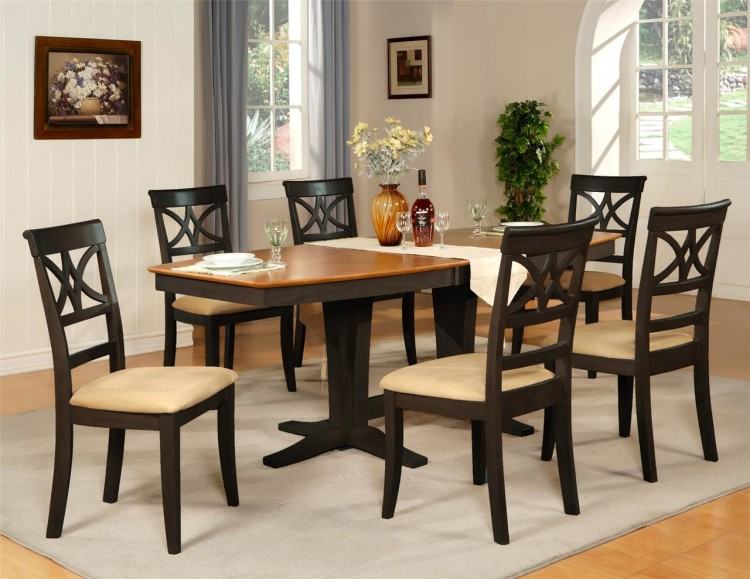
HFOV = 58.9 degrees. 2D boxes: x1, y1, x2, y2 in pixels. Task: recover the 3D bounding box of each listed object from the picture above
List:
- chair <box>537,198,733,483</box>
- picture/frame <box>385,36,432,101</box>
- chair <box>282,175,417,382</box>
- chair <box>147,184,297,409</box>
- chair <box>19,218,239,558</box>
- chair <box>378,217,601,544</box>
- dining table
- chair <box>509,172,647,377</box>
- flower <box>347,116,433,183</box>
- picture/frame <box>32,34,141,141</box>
[{"bbox_3d":[1.126,0.211,2.869,0.549,1.002,0.545,-7,-9,-44],"label":"chair"},{"bbox_3d":[0.340,-2.210,6.626,0.491,0.563,0.028,9,19,32],"label":"picture/frame"},{"bbox_3d":[-0.219,-0.123,4.070,0.614,1.068,0.679,-8,7,-27],"label":"chair"},{"bbox_3d":[-0.886,-0.015,3.814,0.760,1.074,0.724,-3,15,-27],"label":"chair"},{"bbox_3d":[-0.859,0.310,2.380,0.641,0.995,0.561,4,6,-1],"label":"chair"},{"bbox_3d":[0.434,0.312,2.451,0.605,1.016,0.647,-5,4,-43],"label":"chair"},{"bbox_3d":[-0.116,0.322,3.165,1.003,0.787,1.720,4,3,43],"label":"dining table"},{"bbox_3d":[1.286,-0.127,4.180,0.790,1.093,0.766,-3,2,10],"label":"chair"},{"bbox_3d":[0.034,-0.670,3.358,0.396,0.284,0.346,-4,14,-20],"label":"flower"},{"bbox_3d":[-1.914,-1.319,4.317,0.788,0.642,0.065,-6,11,-42],"label":"picture/frame"}]
